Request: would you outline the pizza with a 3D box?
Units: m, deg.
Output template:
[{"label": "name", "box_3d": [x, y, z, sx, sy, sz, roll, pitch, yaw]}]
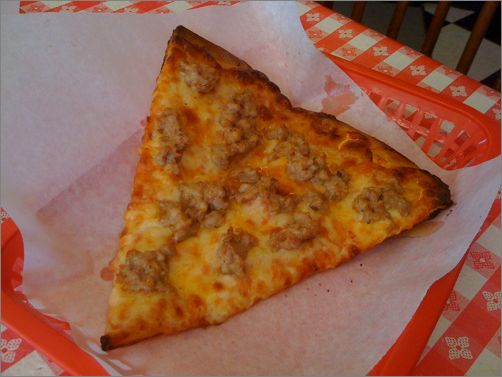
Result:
[{"label": "pizza", "box_3d": [-0.045, -0.018, 1.262, 0.909, 0.181, 0.754, -34, 70, -7]}]
